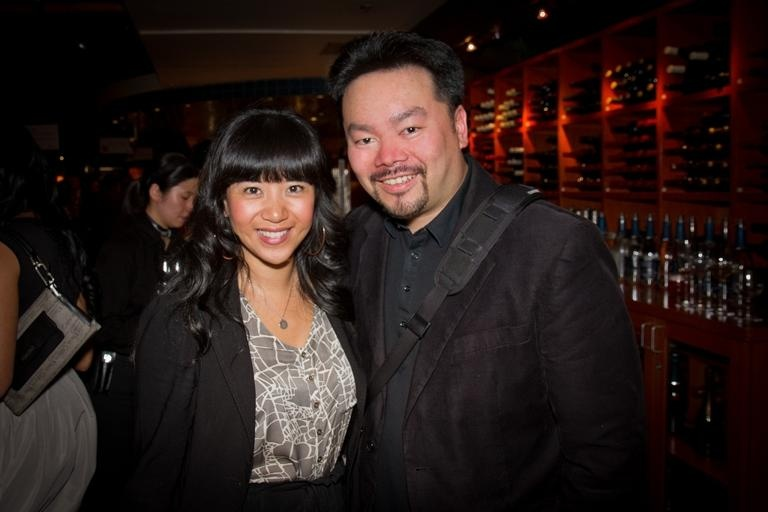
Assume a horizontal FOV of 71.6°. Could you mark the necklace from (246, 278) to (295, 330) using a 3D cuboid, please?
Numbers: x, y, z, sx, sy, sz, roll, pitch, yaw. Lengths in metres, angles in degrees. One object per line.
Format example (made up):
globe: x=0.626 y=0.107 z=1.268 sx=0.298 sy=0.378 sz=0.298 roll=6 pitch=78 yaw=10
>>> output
necklace: x=-0.575 y=0.241 z=2.758 sx=0.069 sy=0.282 sz=0.169 roll=-19 pitch=-8 yaw=-28

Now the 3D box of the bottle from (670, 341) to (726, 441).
bottle: x=2.159 y=0.966 z=3.703 sx=0.076 sy=0.594 sz=0.351 roll=1 pitch=3 yaw=-40
